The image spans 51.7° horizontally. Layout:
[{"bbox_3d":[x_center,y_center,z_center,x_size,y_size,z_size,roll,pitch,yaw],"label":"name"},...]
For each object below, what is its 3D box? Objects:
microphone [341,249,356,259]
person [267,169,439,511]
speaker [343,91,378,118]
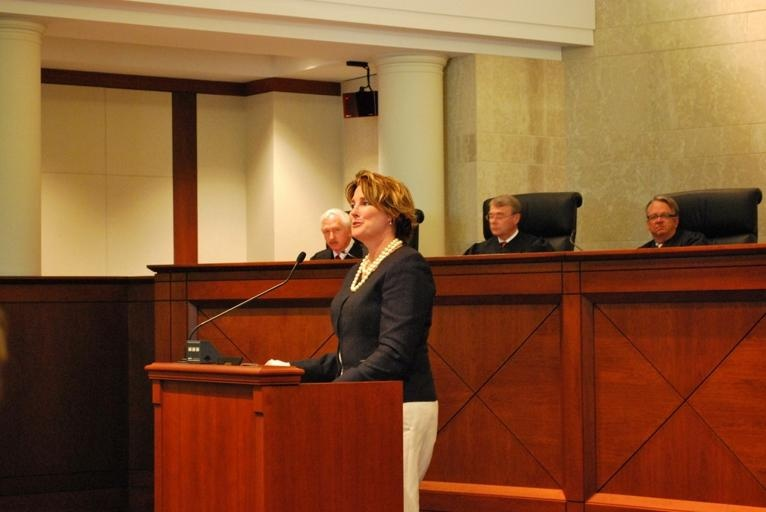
[{"bbox_3d":[-0.289,-0.026,6.242,0.069,0.101,0.054,-3,15,4],"label":"microphone"},{"bbox_3d":[-0.037,0.431,3.620,0.557,1.652,0.551,-2,4,-13],"label":"person"},{"bbox_3d":[-0.233,-1.590,8.230,0.322,0.231,0.118,-3,-4,40],"label":"speaker"}]
